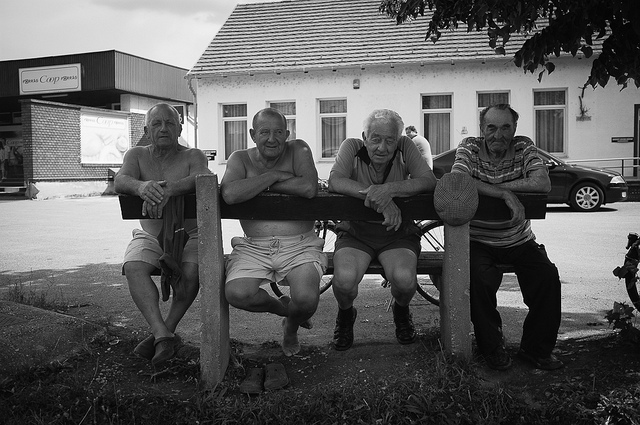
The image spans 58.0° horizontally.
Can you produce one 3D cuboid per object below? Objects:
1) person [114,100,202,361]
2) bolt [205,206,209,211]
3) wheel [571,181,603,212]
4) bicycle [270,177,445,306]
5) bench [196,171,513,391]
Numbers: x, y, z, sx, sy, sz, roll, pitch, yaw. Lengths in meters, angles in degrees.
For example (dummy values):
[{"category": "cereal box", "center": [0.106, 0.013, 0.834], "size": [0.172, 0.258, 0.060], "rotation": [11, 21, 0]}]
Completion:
[{"category": "person", "center": [-1.521, 0.174, 5.524], "size": [0.808, 2.411, 1.390], "rotation": [-4, 9, -20]}, {"category": "bolt", "center": [-0.990, -0.040, 5.020], "size": [0.029, 0.034, 0.028], "rotation": [1, -8, 4]}, {"category": "wheel", "center": [7.340, -0.480, 15.805], "size": [0.547, 0.550, 0.181], "rotation": [-45, -2, 6]}, {"category": "bicycle", "center": [0.615, 0.414, 7.656], "size": [2.383, 1.657, 1.274], "rotation": [-2, 1, -2]}, {"category": "bench", "center": [0.248, 0.513, 5.368], "size": [2.682, 1.805, 0.965], "rotation": [-2, 8, -6]}]
